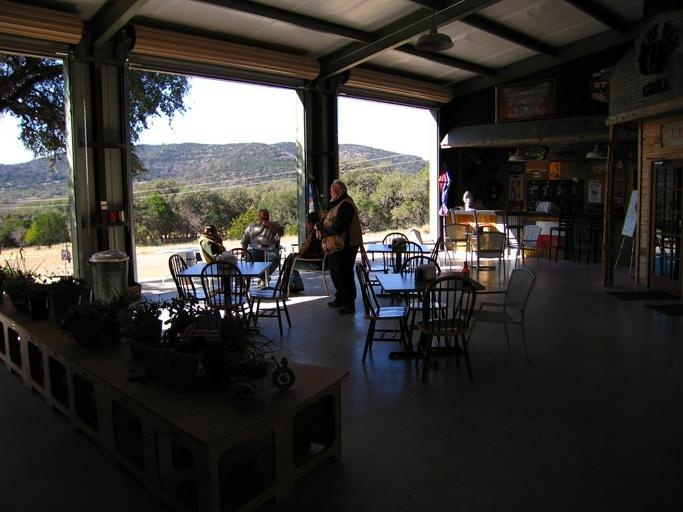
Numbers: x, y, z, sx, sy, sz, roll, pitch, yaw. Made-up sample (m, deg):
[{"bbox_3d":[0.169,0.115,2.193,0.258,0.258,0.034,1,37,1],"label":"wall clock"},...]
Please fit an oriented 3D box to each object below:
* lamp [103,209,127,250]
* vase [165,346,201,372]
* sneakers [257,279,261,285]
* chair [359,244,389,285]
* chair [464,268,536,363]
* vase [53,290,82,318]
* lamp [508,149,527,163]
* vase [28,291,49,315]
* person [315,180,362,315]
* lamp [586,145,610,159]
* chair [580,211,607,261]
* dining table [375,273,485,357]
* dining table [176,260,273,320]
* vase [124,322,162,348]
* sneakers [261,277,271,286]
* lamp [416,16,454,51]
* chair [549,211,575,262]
[{"bbox_3d":[-3.544,-0.396,7.949,0.153,0.688,0.407,4,12,22],"label":"lamp"},{"bbox_3d":[-1.008,0.672,3.263,0.212,0.156,0.122,1,-3,22],"label":"vase"},{"bbox_3d":[-1.390,0.440,8.556,0.082,0.109,0.116,-1,-6,-2],"label":"sneakers"},{"bbox_3d":[0.475,0.113,8.135,0.537,0.914,0.493,0,15,7],"label":"chair"},{"bbox_3d":[1.815,0.716,5.789,0.779,1.225,0.780,0,6,-5],"label":"chair"},{"bbox_3d":[-2.399,0.423,4.443,0.224,0.207,0.263,1,-1,-2],"label":"vase"},{"bbox_3d":[4.609,-2.594,13.365,0.345,0.261,0.350,6,25,32],"label":"lamp"},{"bbox_3d":[-2.797,0.451,4.720,0.146,0.274,0.121,-9,14,-38],"label":"vase"},{"bbox_3d":[-0.019,-0.107,6.862,0.597,1.801,0.585,-1,11,-2],"label":"person"},{"bbox_3d":[5.849,-2.374,11.596,0.374,0.343,1.241,6,14,28],"label":"lamp"},{"bbox_3d":[5.531,-0.429,11.250,0.411,1.073,0.683,1,11,6],"label":"chair"},{"bbox_3d":[0.719,0.459,5.326,0.931,0.629,0.937,0,4,-2],"label":"dining table"},{"bbox_3d":[-1.320,0.279,5.991,0.784,0.964,0.885,1,15,3],"label":"dining table"},{"bbox_3d":[-1.435,0.567,3.713,0.192,0.174,0.227,-1,-4,18],"label":"vase"},{"bbox_3d":[-1.214,0.398,8.160,0.168,0.067,0.252,1,9,6],"label":"sneakers"},{"bbox_3d":[1.283,-3.084,7.149,0.466,0.495,1.120,1,12,8],"label":"lamp"},{"bbox_3d":[5.021,-0.450,11.571,0.384,1.074,0.429,0,11,-1],"label":"chair"}]
